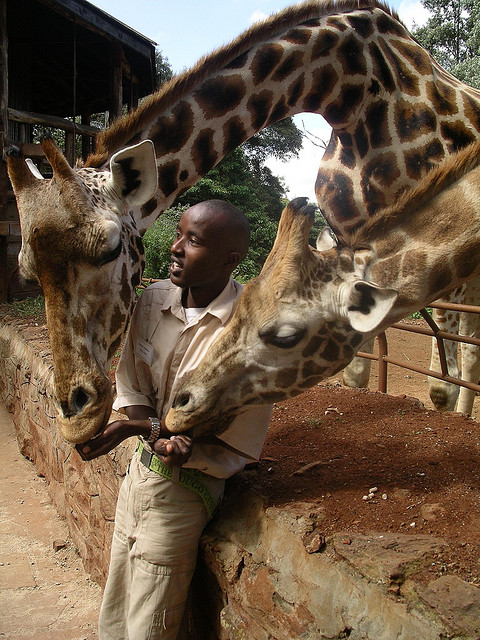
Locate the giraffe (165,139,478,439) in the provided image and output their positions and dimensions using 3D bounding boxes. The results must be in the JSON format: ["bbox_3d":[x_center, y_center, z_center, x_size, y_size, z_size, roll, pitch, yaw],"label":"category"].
[{"bbox_3d":[0.318,-0.070,1.770,1.240,0.870,0.336,-10,10,-8],"label":"giraffe"}]
